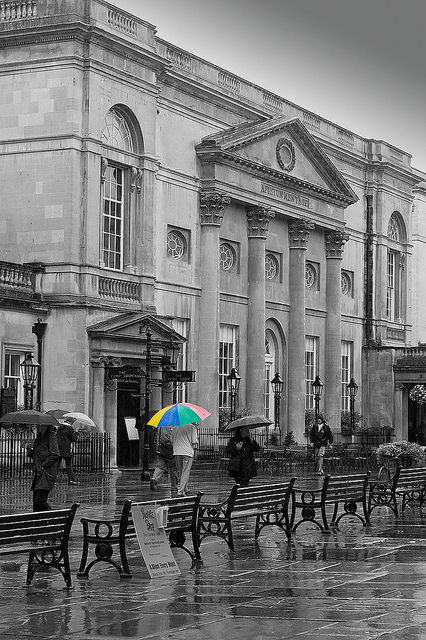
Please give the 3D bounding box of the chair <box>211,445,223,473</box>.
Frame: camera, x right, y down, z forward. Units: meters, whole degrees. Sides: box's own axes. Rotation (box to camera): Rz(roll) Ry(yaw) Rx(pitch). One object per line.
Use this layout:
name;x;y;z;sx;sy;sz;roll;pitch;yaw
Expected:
chair;0.156;4.397;41.719;0.373;0.913;0.442;2;2;28

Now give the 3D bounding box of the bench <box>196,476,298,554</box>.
bench;0.540;2.565;17.295;1.440;0.786;0.469;0;6;-43

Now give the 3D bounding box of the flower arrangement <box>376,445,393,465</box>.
flower arrangement;3.830;3.014;29.797;0.250;0.446;0.151;4;9;8

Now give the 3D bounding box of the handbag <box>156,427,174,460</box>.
handbag;-0.903;2.378;25.150;0.239;0.608;0.402;-3;-5;20

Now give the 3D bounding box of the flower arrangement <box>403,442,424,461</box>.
flower arrangement;4.537;2.951;29.644;0.311;0.368;0.653;-4;-9;36

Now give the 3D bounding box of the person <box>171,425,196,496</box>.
person;-0.487;2.350;22.303;0.414;1.175;0.988;1;-6;-1

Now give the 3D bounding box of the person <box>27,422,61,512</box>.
person;-2.138;1.870;17.002;0.330;1.148;0.634;2;-6;-9

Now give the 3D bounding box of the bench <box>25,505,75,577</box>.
bench;-1.682;2.320;13.713;0.355;0.839;0.917;-1;-6;15

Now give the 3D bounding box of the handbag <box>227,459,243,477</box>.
handbag;0.329;2.315;20.846;0.210;0.253;0.307;4;-8;-29

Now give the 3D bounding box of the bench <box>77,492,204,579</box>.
bench;-0.766;2.331;14.967;1.363;0.830;0.582;-7;-25;1

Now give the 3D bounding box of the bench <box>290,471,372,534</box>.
bench;1.849;2.814;20.366;0.599;0.942;1.724;2;-2;30

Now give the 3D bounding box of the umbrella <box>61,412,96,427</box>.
umbrella;-2.614;1.864;25.605;0.419;0.212;0.510;6;-13;13
